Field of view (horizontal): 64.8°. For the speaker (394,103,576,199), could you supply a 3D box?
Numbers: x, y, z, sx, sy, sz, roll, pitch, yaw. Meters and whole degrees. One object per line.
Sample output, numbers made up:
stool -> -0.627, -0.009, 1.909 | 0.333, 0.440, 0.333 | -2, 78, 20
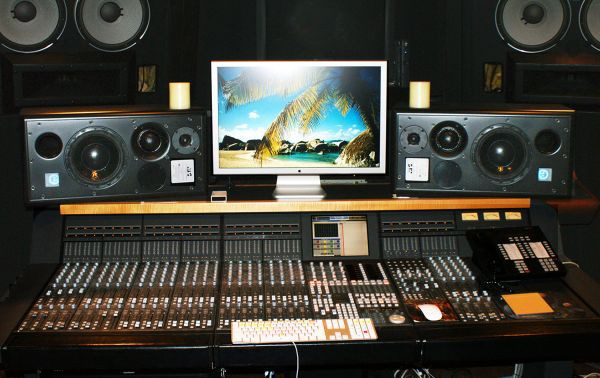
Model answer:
speaker -> 1.022, -0.199, 2.638 | 0.952, 0.275, 0.438 | -2, -61, -1

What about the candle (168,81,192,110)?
candle -> -0.696, -0.545, 2.783 | 0.188, 0.180, 0.146 | -2, -81, -15

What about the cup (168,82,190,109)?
cup -> -0.692, -0.533, 2.726 | 0.165, 0.158, 0.168 | -1, -81, -7

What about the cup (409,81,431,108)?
cup -> 0.707, -0.557, 2.797 | 0.178, 0.173, 0.144 | 1, -77, 11

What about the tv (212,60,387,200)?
tv -> -0.003, -0.367, 2.713 | 0.875, 0.250, 0.584 | 0, -81, -2

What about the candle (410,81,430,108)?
candle -> 0.696, -0.556, 2.802 | 0.162, 0.155, 0.165 | -1, -83, -1
